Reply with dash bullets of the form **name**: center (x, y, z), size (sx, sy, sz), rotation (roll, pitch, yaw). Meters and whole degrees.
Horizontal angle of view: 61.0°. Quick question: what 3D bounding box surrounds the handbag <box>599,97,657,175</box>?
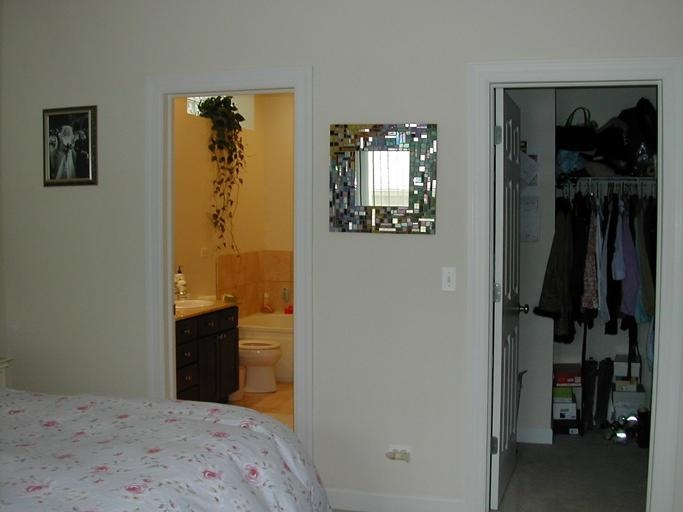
- **handbag**: center (2.438, -0.997, 4.881), size (0.472, 0.682, 0.249), rotation (6, -9, 29)

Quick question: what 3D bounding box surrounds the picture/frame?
- **picture/frame**: center (-1.795, -0.752, 3.859), size (0.476, 0.655, 0.041), rotation (1, 1, 15)

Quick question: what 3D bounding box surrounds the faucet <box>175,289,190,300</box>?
- **faucet**: center (-1.442, 0.342, 5.222), size (0.046, 0.090, 0.185), rotation (6, 6, 15)

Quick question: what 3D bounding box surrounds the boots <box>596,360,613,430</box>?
- **boots**: center (2.344, 1.173, 5.172), size (0.128, 0.616, 0.070), rotation (3, 14, 24)

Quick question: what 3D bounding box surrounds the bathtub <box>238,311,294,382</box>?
- **bathtub**: center (-0.740, 0.980, 6.239), size (0.717, 0.349, 0.517), rotation (2, 3, 11)

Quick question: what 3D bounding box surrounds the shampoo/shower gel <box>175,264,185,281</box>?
- **shampoo/shower gel**: center (-1.459, 0.138, 5.229), size (0.078, 0.127, 0.184), rotation (3, 6, -16)

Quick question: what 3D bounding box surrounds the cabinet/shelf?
- **cabinet/shelf**: center (-1.147, 0.790, 4.855), size (0.316, 0.840, 0.894), rotation (0, 3, 10)

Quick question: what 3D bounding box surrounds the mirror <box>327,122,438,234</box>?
- **mirror**: center (0.277, -0.496, 3.520), size (0.580, 0.658, 0.026), rotation (1, 0, 5)

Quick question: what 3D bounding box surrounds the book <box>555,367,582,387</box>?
- **book**: center (1.894, 1.010, 4.859), size (0.145, 0.111, 0.166), rotation (-2, -6, 13)

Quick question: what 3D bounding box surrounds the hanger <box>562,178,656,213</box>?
- **hanger**: center (2.300, -0.578, 4.975), size (0.834, 0.263, 0.409), rotation (6, 6, 1)

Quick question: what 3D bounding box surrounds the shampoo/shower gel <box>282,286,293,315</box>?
- **shampoo/shower gel**: center (-0.616, 0.498, 6.639), size (0.108, 0.283, 0.243), rotation (3, 6, -13)

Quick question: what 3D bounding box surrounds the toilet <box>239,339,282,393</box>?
- **toilet**: center (-0.827, 1.080, 6.008), size (0.406, 0.514, 0.492), rotation (-1, 2, -3)

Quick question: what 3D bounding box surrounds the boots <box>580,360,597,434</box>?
- **boots**: center (2.224, 1.200, 5.196), size (0.127, 0.649, 0.145), rotation (-2, 9, 8)
